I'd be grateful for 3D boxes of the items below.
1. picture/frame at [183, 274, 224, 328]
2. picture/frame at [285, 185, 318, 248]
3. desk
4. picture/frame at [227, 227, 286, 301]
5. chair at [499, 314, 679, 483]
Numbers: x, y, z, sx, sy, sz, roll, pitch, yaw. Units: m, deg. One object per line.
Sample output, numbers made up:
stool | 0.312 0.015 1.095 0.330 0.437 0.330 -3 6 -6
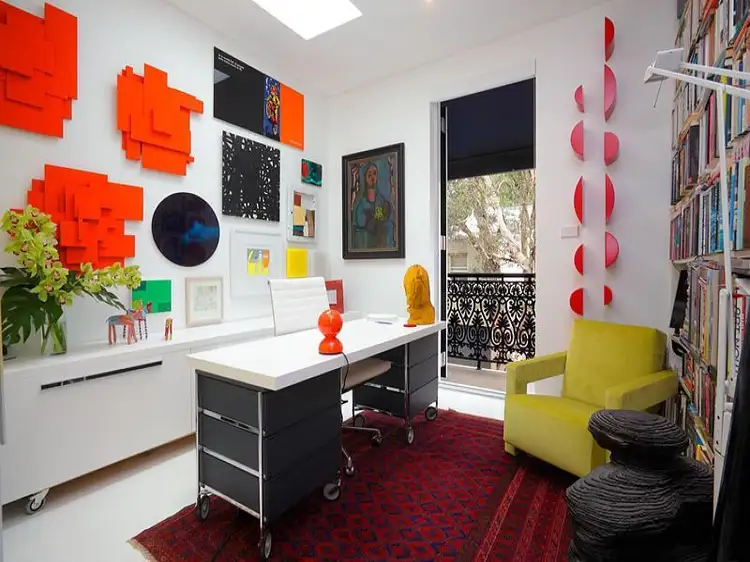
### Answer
picture/frame | -1.552 0.183 4.350 0.033 0.558 0.429 -2 -2 35
picture/frame | -0.829 -0.712 5.371 0.071 0.833 0.653 -1 -2 30
desk | -0.406 0.962 3.229 0.683 1.167 1.474 0 3 44
picture/frame | -1.179 -0.157 4.715 0.066 0.724 0.679 -1 -1 32
chair | 1.552 0.843 3.489 1.077 1.093 1.168 5 4 35
